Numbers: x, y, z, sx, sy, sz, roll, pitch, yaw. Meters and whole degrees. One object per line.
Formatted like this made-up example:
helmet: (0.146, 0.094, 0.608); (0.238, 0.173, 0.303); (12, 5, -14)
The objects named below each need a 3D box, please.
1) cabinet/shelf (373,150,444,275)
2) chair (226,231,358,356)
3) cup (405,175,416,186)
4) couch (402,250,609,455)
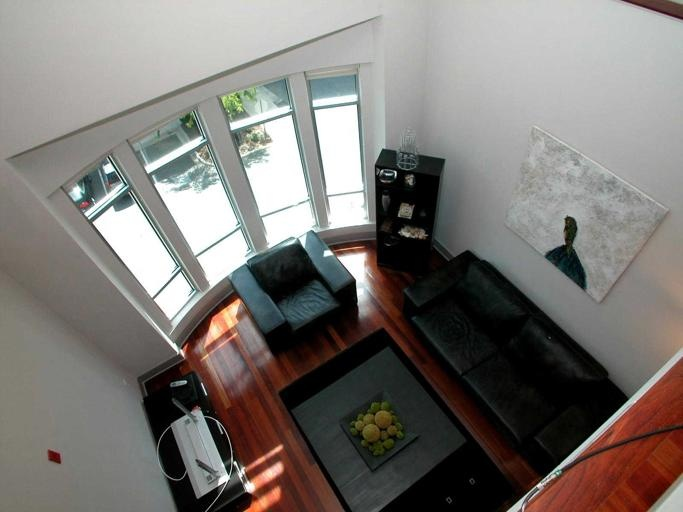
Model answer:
cabinet/shelf: (0.970, -0.506, 6.626); (1.790, 0.873, 0.449); (87, -159, -44)
chair: (-0.672, 0.462, 6.500); (1.451, 1.224, 0.951); (-29, -40, -20)
cup: (0.937, -1.031, 6.232); (0.108, 0.150, 0.145); (-2, -22, 4)
couch: (1.973, 1.196, 5.740); (1.202, 2.756, 1.103); (-20, -47, -20)
